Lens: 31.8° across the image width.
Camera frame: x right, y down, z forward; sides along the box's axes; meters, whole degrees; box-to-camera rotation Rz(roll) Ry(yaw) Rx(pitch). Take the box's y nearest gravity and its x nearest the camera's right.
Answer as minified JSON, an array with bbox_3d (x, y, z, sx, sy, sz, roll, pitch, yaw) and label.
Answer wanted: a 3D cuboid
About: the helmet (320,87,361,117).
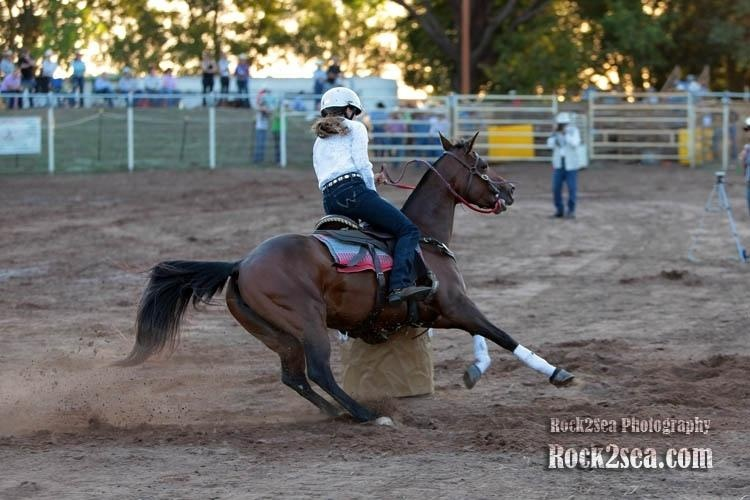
[{"bbox_3d":[-0.661,-2.645,22.995,0.607,0.426,0.500,-11,9,-9],"label":"helmet"}]

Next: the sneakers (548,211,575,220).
[{"bbox_3d":[4.620,-0.896,32.820,0.678,0.235,0.208,4,3,5],"label":"sneakers"}]

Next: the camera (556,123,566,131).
[{"bbox_3d":[4.475,-3.024,31.987,0.207,0.191,0.185,16,-1,17],"label":"camera"}]
